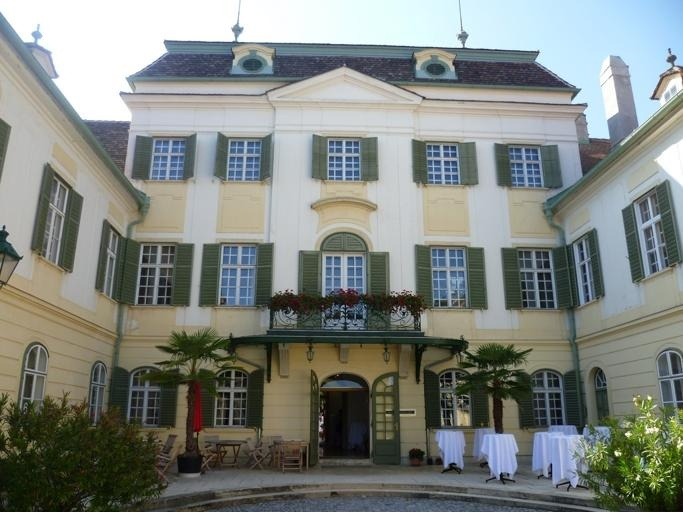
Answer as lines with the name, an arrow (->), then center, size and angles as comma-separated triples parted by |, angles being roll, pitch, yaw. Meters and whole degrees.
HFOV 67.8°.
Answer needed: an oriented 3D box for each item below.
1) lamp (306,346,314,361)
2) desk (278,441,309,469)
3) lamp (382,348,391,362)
lamp -> -0.962, 2.907, 15.268 | 0.227, 0.448, 0.499 | 1, -22, -4
desk -> -1.287, 5.316, 13.551 | 0.741, 0.713, 1.274 | 1, -22, -3
lamp -> 1.374, 3.028, 15.607 | 0.228, 0.444, 0.177 | 15, -27, -32
